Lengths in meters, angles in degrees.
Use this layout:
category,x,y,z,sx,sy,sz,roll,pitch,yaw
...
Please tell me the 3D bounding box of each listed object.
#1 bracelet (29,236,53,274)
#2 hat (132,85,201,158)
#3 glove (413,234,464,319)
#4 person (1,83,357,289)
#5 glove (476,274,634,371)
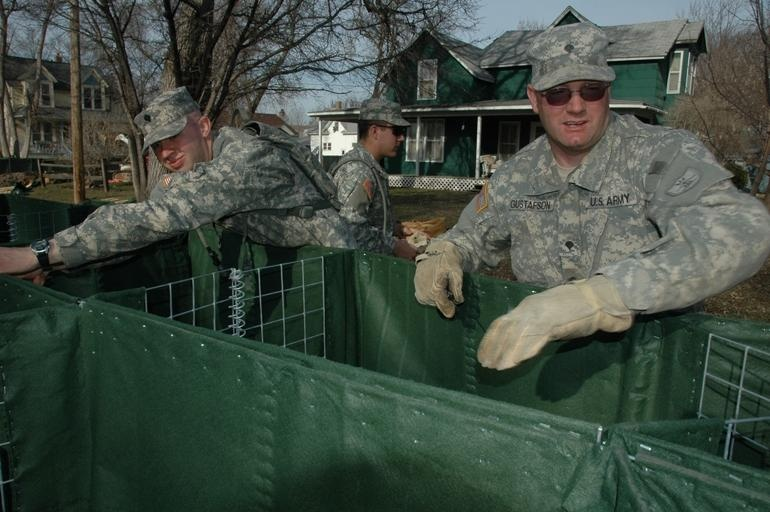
category,x,y,z,sx,sy,sz,roll,pitch,yaw
bracelet,-1.910,-0.011,4.027,0.091,0.168,0.153,0,0,-20
hat,-1.495,-0.935,4.893,0.317,0.230,0.488,-20,22,51
glove,0.294,0.095,3.838,0.158,0.387,0.279,17,-22,-22
person,-1.157,-0.494,4.683,2.058,1.050,0.830,-4,11,-20
glove,0.700,0.270,3.016,0.579,0.230,0.358,-19,33,-4
